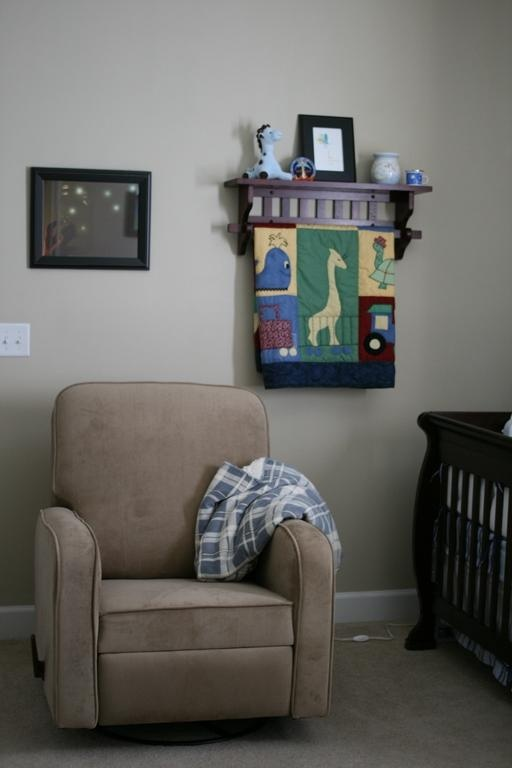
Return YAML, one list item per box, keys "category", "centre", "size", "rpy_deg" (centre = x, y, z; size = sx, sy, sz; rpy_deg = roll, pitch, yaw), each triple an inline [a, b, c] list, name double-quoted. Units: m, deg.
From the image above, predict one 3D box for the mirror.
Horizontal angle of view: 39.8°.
- category: "mirror"
  centre: [-0.572, -0.558, 2.355]
  size: [0.290, 0.292, 0.022]
  rpy_deg: [1, 2, -11]

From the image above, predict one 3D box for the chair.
- category: "chair"
  centre: [-0.230, 0.458, 1.938]
  size: [0.813, 0.997, 0.880]
  rpy_deg: [1, -9, -2]

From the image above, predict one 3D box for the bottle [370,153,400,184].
- category: "bottle"
  centre: [0.460, -0.745, 2.513]
  size: [0.092, 0.108, 0.100]
  rpy_deg: [0, -2, 0]

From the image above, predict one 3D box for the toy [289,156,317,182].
- category: "toy"
  centre: [0.165, -0.724, 2.418]
  size: [0.070, 0.096, 0.078]
  rpy_deg: [0, -6, -4]

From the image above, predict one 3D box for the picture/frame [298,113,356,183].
- category: "picture/frame"
  centre: [0.241, -0.822, 2.482]
  size: [0.235, 0.320, 0.012]
  rpy_deg: [-1, -5, -24]

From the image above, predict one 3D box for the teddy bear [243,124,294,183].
- category: "teddy bear"
  centre: [0.039, -0.776, 2.383]
  size: [0.109, 0.194, 0.143]
  rpy_deg: [-2, 9, -43]
